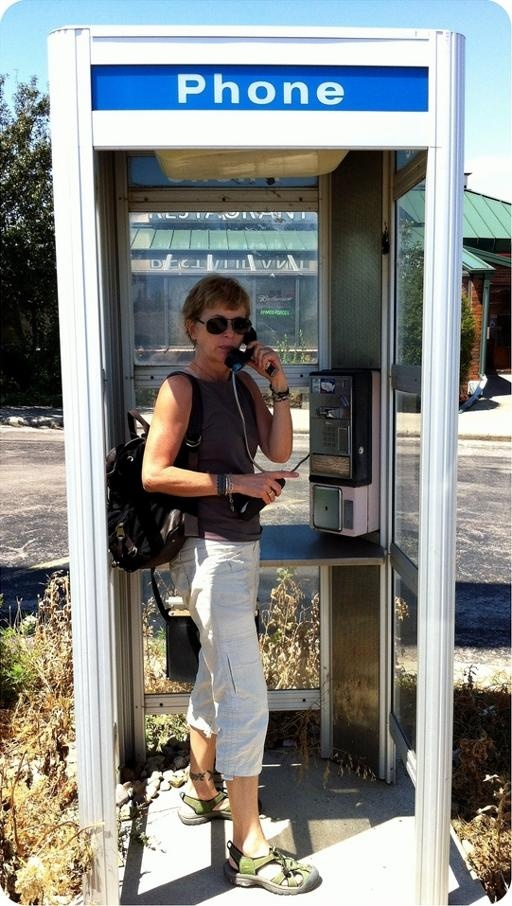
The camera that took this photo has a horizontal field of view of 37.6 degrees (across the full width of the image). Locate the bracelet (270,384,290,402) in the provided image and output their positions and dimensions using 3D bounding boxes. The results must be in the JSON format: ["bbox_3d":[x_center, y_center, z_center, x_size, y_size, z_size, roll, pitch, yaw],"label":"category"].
[{"bbox_3d":[0.078,-0.189,2.349,0.054,0.046,0.044,-2,5,-2],"label":"bracelet"}]

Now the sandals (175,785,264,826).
[{"bbox_3d":[-0.120,1.173,2.575,0.292,0.143,0.113,0,-2,-18],"label":"sandals"}]

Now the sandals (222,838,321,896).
[{"bbox_3d":[0.035,1.163,2.124,0.230,0.122,0.118,0,4,13],"label":"sandals"}]

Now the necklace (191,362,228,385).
[{"bbox_3d":[-0.134,-0.226,2.130,0.063,0.034,0.088,0,-5,8],"label":"necklace"}]

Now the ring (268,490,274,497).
[{"bbox_3d":[0.042,0.108,2.004,0.014,0.016,0.004,5,-10,-26],"label":"ring"}]

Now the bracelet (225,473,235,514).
[{"bbox_3d":[-0.068,0.108,2.002,0.020,0.097,0.070,1,0,1],"label":"bracelet"}]

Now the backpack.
[{"bbox_3d":[-0.315,0.054,2.141,0.216,0.549,0.381,1,0,-25],"label":"backpack"}]

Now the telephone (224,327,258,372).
[{"bbox_3d":[-0.045,-0.299,2.167,0.044,0.159,0.080,31,-27,5],"label":"telephone"}]

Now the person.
[{"bbox_3d":[-0.049,0.360,2.203,0.471,1.702,0.594,1,0,5],"label":"person"}]
